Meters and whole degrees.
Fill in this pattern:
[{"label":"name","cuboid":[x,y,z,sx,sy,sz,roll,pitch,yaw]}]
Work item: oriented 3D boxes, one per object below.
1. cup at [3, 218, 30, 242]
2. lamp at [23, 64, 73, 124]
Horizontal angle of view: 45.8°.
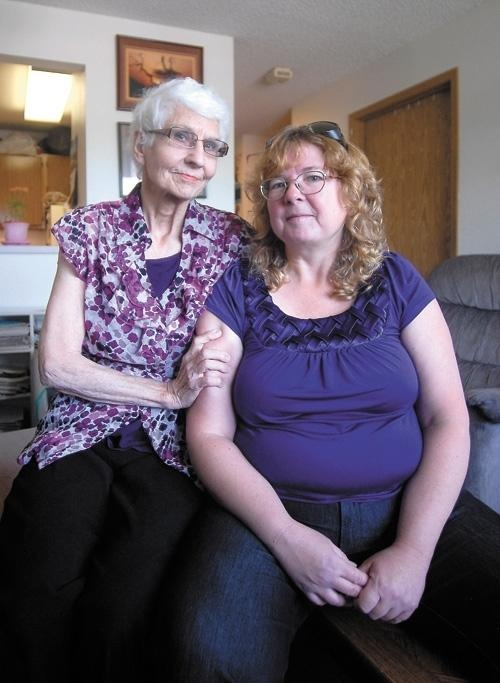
[{"label":"cup","cuboid":[-1.425,-0.663,3.571,0.209,0.140,0.194,0,1,0]},{"label":"lamp","cuboid":[-1.503,-1.814,4.367,0.456,0.387,0.102,-7,51,-42]}]
